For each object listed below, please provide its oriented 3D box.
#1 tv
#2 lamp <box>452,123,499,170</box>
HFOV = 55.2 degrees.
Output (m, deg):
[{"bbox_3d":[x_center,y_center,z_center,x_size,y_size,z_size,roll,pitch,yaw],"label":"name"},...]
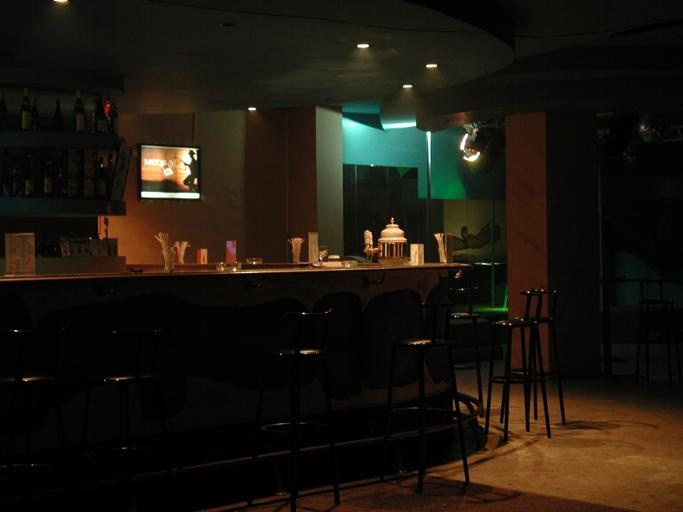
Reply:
[{"bbox_3d":[-2.612,-1.247,9.672,0.864,0.754,0.111,-2,1,-28],"label":"tv"},{"bbox_3d":[2.320,-1.802,10.905,0.538,0.724,0.690,14,53,48],"label":"lamp"}]
